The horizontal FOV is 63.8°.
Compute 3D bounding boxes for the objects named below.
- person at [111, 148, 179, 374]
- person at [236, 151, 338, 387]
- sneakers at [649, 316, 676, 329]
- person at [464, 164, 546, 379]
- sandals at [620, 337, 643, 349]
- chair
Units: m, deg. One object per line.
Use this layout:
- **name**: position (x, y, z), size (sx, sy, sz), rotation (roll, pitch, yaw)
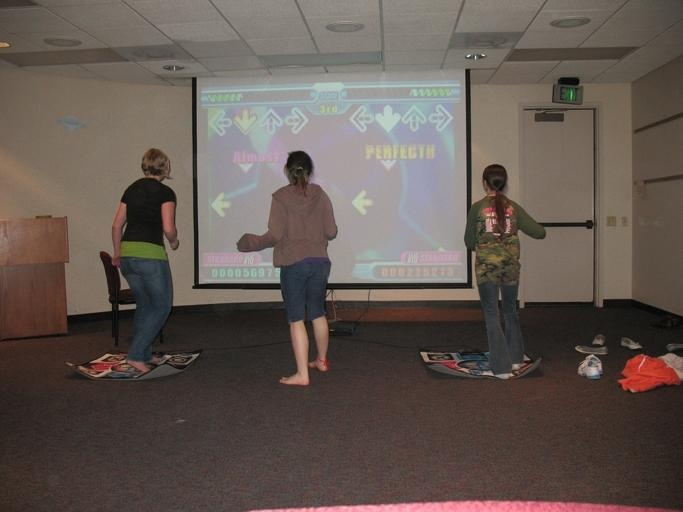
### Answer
- **person**: position (-1.740, 0.031, 4.922), size (0.565, 1.990, 0.434), rotation (-3, 8, -22)
- **person**: position (-0.398, 0.092, 4.685), size (0.705, 1.978, 0.530), rotation (0, 7, 0)
- **sneakers**: position (3.869, 0.782, 6.499), size (0.195, 0.065, 0.139), rotation (-1, 5, -32)
- **person**: position (1.365, 0.120, 4.712), size (0.523, 1.814, 0.364), rotation (-3, 8, -24)
- **sandals**: position (2.962, 0.893, 5.612), size (0.115, 0.046, 0.143), rotation (-2, 9, -6)
- **chair**: position (-2.380, 0.454, 6.289), size (0.701, 1.033, 0.682), rotation (0, 2, -10)
